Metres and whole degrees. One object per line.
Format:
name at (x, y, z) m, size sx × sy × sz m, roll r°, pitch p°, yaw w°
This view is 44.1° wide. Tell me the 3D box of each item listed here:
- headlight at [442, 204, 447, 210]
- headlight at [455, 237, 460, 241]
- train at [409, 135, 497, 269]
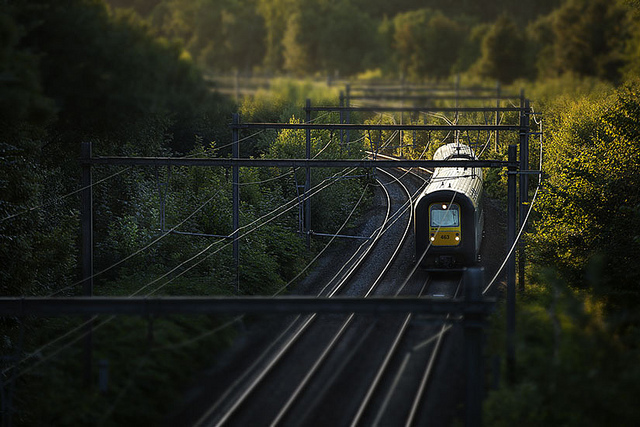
headlight at (6.080, -0.315, 38.245) m, size 0.196 × 0.246 × 0.051 m, roll 2°, pitch 2°, yaw 2°
headlight at (6.710, 1.234, 38.251) m, size 0.154 × 0.193 × 0.040 m, roll 0°, pitch -1°, yaw 1°
train at (7.511, -1.173, 44.219) m, size 3.110 × 6.812 × 15.186 m, roll 0°, pitch 15°, yaw 10°
